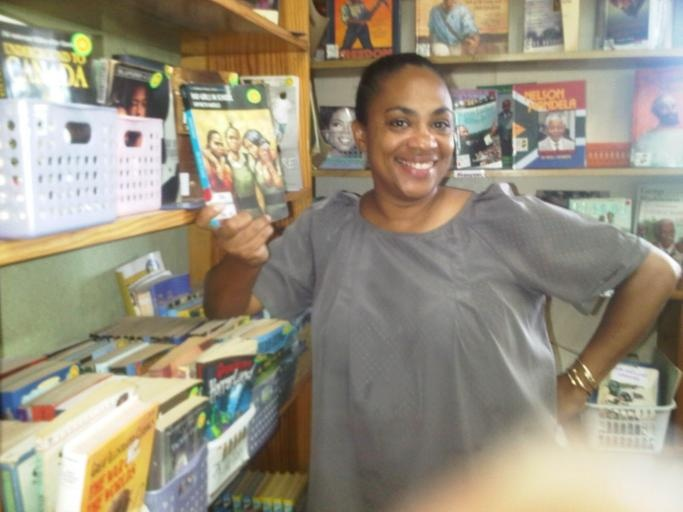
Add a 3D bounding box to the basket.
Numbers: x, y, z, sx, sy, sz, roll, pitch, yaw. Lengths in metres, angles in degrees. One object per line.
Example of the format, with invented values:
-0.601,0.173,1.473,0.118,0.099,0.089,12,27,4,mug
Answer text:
1.337,0.797,2.435,0.306,0.143,0.248,0,1,11,basket
